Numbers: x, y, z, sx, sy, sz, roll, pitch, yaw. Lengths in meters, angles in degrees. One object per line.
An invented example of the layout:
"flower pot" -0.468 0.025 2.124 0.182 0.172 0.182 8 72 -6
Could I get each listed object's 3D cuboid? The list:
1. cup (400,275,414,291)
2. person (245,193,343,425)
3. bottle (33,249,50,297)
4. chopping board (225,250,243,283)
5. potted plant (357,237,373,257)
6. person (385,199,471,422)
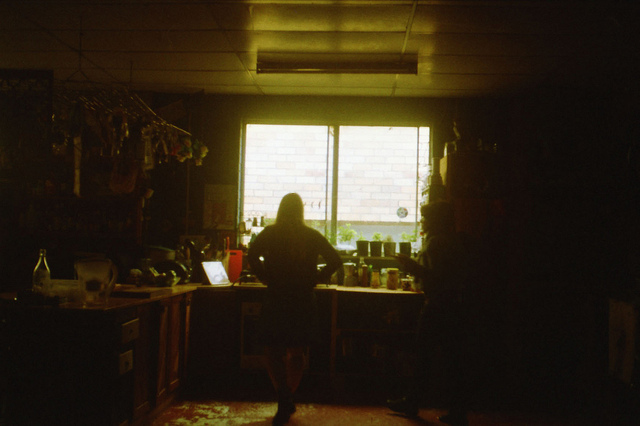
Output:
"cup" 1.082 0.871 7.602 0.143 0.173 0.120 3 4 19
"person" -0.305 1.020 6.432 0.692 2.021 0.761 4 -1 -44
"bottle" -2.709 0.574 5.948 0.147 0.466 0.125 3 -1 -24
"chopping board" -1.147 0.693 8.090 0.232 0.371 0.171 3 -1 -5
"potted plant" 0.601 0.466 8.052 0.199 0.209 0.195 0 -1 5
"person" 1.193 1.036 6.592 0.539 1.644 0.810 3 -1 -35
